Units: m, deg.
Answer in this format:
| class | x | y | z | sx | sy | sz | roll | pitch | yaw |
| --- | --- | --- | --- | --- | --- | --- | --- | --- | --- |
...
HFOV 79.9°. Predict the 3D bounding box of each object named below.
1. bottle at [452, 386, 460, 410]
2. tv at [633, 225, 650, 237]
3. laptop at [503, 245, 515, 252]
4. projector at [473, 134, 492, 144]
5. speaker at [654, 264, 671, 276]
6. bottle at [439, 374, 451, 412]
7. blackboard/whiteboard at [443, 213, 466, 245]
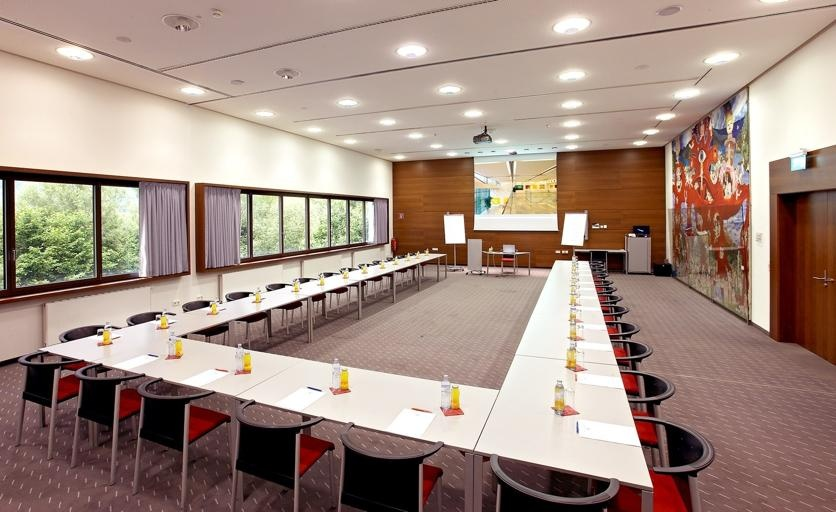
| class | x | y | z | sx | sy | sz | roll | pitch | yaw |
| --- | --- | --- | --- | --- | --- | --- | --- | --- | --- |
| bottle | 0.457 | 1.701 | 6.158 | 0.112 | 0.274 | 0.284 | -2 | 5 | 5 |
| tv | 7.447 | -0.852 | 16.758 | 0.533 | 0.336 | 0.373 | 1 | 0 | 18 |
| laptop | 3.082 | -0.264 | 17.154 | 0.335 | 0.186 | 0.313 | 1 | -2 | 14 |
| projector | 1.725 | -3.200 | 13.578 | 0.416 | 0.187 | 0.509 | 1 | 8 | 12 |
| speaker | 7.890 | 0.440 | 16.194 | 0.421 | 0.295 | 0.411 | 0 | 0 | 4 |
| bottle | 0.322 | 1.651 | 6.098 | 0.140 | 0.390 | 0.210 | -2 | 5 | 2 |
| blackboard/whiteboard | 1.277 | -0.951 | 17.766 | 0.634 | 0.953 | 0.468 | -1 | 5 | 17 |
